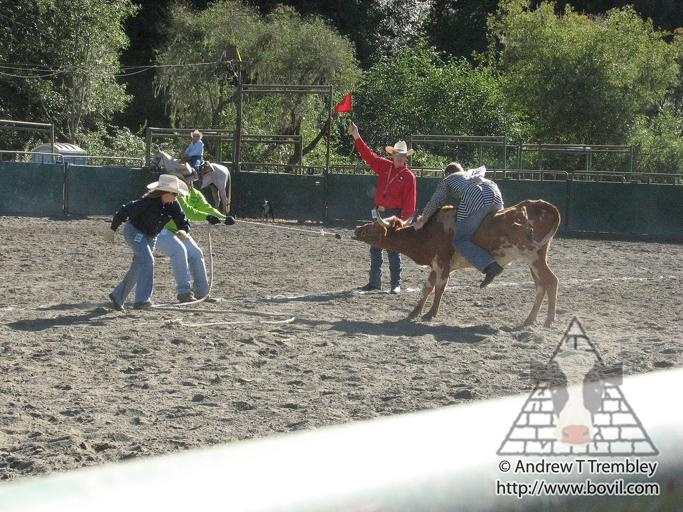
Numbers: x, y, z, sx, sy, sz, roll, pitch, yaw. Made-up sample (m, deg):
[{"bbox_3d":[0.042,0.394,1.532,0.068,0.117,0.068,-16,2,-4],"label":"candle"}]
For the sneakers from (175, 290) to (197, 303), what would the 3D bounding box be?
[{"bbox_3d":[-2.125,0.544,13.448,0.226,0.156,0.122,-5,10,-4],"label":"sneakers"}]

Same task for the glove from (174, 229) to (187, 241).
[{"bbox_3d":[-2.132,-0.285,13.055,0.131,0.144,0.139,-8,-8,2],"label":"glove"}]

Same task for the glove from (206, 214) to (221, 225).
[{"bbox_3d":[-1.724,-0.467,13.136,0.159,0.043,0.151,14,11,21],"label":"glove"}]

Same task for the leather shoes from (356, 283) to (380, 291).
[{"bbox_3d":[0.392,0.440,14.681,0.352,0.153,0.125,2,-1,13],"label":"leather shoes"}]

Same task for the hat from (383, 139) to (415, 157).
[{"bbox_3d":[0.822,-1.658,14.497,0.417,0.202,0.482,5,-5,0],"label":"hat"}]

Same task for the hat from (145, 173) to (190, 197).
[{"bbox_3d":[-2.267,-0.913,12.910,0.476,0.344,0.693,-1,12,-6],"label":"hat"}]

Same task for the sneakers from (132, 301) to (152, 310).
[{"bbox_3d":[-2.610,0.629,12.944,0.222,0.097,0.093,2,2,-5],"label":"sneakers"}]

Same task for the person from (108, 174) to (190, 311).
[{"bbox_3d":[-2.524,-0.196,12.860,1.031,1.727,0.448,-2,12,-11],"label":"person"}]

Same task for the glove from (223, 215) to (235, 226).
[{"bbox_3d":[-1.490,-0.483,13.056,0.148,0.151,0.082,16,-16,5],"label":"glove"}]

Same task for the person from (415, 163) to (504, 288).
[{"bbox_3d":[1.545,-0.387,13.151,1.100,1.844,1.304,-4,-17,-13],"label":"person"}]
